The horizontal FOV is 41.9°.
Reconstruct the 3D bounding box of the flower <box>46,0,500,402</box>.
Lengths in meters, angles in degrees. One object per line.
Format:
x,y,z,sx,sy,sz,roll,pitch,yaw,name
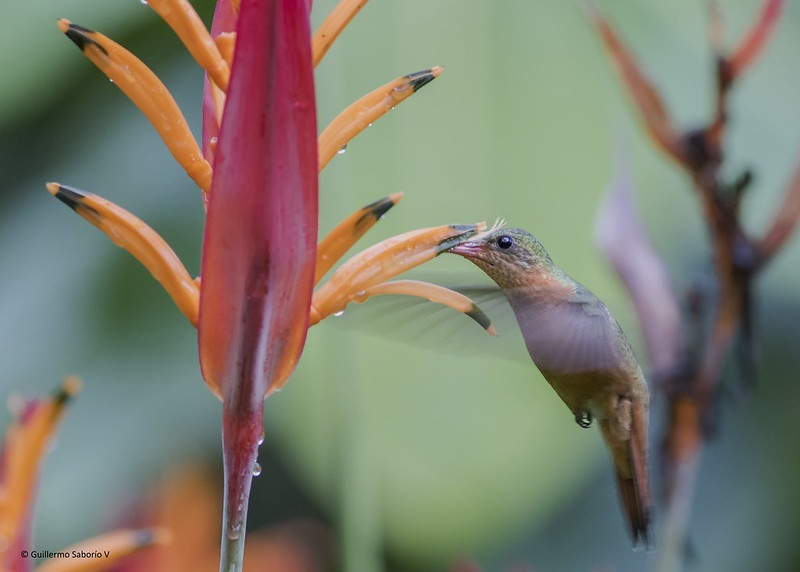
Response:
-0.090,-0.068,1.000,0.351,0.411,0.308,4,2,17,flower

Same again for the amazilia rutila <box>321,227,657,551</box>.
0.177,0.072,1.325,0.464,0.235,0.401,25,6,30,amazilia rutila
